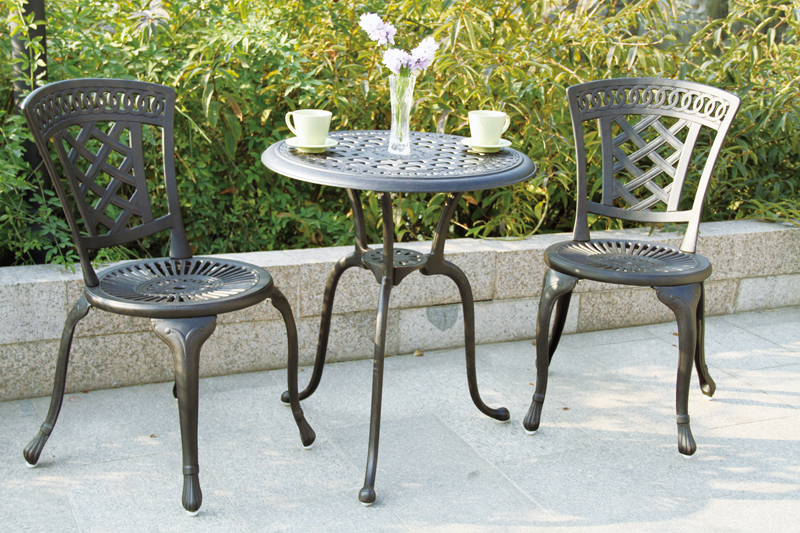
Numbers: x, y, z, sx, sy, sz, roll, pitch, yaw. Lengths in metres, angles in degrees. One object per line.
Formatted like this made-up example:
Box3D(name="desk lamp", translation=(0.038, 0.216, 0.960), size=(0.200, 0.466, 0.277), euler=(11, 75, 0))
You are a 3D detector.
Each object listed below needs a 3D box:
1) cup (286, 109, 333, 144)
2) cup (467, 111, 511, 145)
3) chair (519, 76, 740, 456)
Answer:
Box3D(name="cup", translation=(-0.347, -0.539, 2.874), size=(0.201, 0.118, 0.151), euler=(1, 12, -12))
Box3D(name="cup", translation=(0.361, -0.562, 2.980), size=(0.167, 0.106, 0.142), euler=(-16, 25, -39))
Box3D(name="chair", translation=(1.123, -0.123, 3.499), size=(0.837, 1.519, 1.467), euler=(4, 16, 16))
